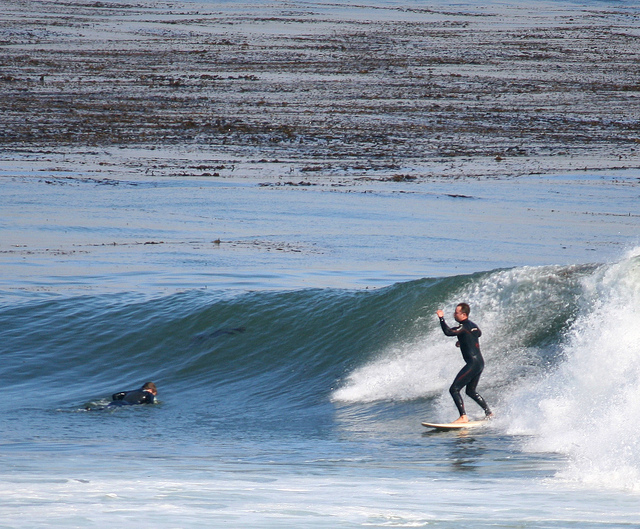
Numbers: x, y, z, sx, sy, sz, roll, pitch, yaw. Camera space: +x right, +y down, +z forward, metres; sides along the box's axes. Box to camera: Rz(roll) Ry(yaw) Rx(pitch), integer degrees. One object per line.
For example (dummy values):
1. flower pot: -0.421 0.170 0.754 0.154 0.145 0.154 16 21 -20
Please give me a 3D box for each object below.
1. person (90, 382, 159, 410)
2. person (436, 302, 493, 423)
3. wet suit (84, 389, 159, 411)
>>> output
1. person: -5.706 3.921 45.702 0.919 0.446 1.516 4 6 37
2. person: 4.072 2.800 42.776 1.528 3.464 0.875 1 14 2
3. wet suit: -5.882 4.039 45.696 1.587 0.681 0.451 -11 -12 -15
